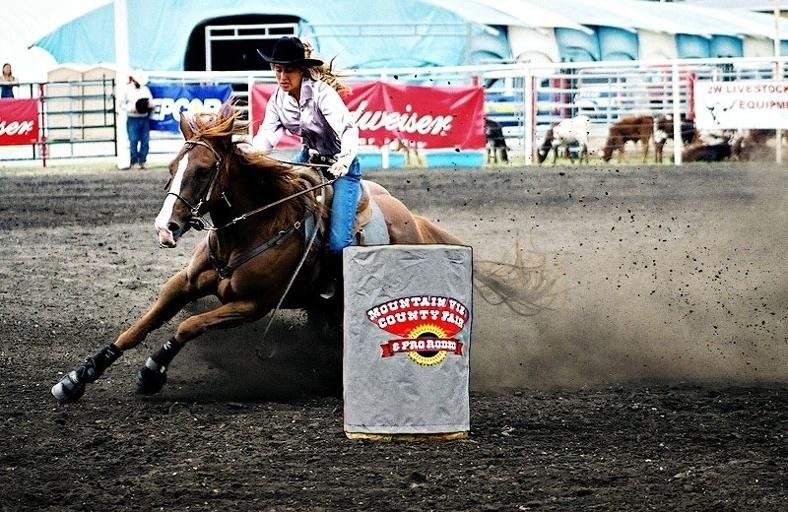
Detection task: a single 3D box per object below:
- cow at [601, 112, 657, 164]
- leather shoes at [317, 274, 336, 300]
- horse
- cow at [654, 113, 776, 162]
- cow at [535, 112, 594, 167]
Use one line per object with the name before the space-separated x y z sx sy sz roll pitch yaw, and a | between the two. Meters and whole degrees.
cow | 4.599 -2.341 24.739 1.538 0.870 0.389 -14 9 -31
leather shoes | -0.756 0.341 14.081 0.234 0.245 0.229 7 1 -25
horse | -0.976 -0.022 14.970 1.317 3.159 6.301 15 12 39
cow | 6.310 -2.320 23.951 1.590 0.382 0.824 5 32 15
cow | 3.425 -2.277 24.555 1.305 0.911 0.378 -6 -6 44
